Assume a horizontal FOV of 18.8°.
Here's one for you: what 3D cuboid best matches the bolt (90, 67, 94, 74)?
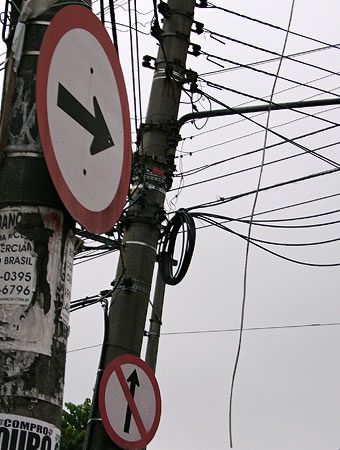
[{"bbox_3d":[-0.373,-0.739,4.890,0.019,0.037,0.003,-4,9,-38],"label":"bolt"}]
